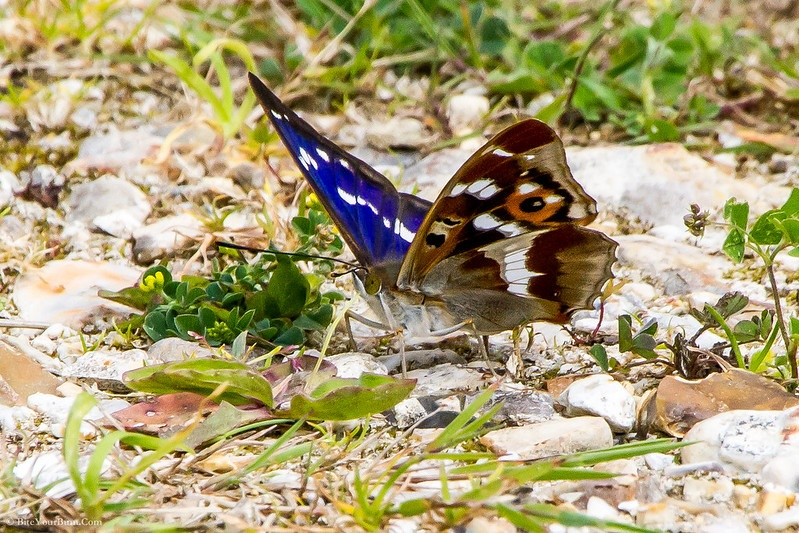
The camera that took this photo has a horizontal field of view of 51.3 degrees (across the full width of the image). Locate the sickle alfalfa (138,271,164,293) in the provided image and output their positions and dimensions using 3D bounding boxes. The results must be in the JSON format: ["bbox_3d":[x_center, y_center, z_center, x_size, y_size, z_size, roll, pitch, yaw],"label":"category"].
[{"bbox_3d":[-1.027,0.062,3.464,0.100,0.068,0.061,-4,54,-10],"label":"sickle alfalfa"}]
